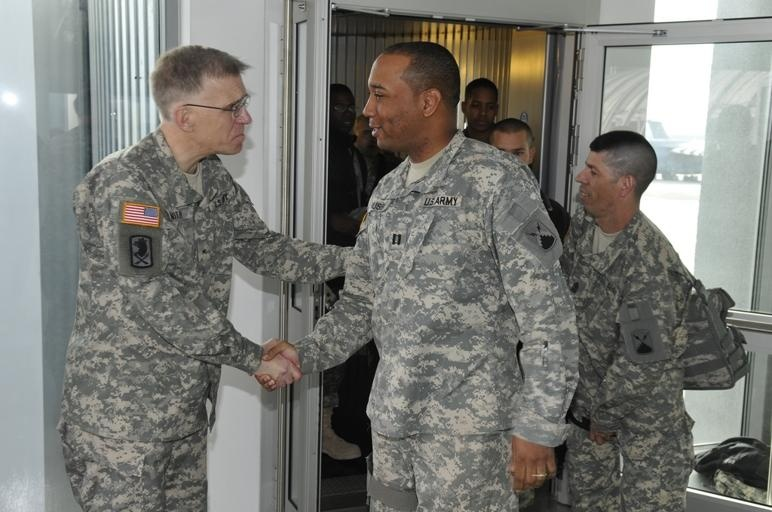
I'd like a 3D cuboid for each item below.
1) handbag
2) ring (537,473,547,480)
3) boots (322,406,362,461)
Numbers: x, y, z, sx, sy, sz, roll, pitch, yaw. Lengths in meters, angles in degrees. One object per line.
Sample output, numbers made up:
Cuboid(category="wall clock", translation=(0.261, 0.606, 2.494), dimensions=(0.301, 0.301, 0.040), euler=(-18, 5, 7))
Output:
Cuboid(category="handbag", translation=(1.744, 0.444, 3.983), dimensions=(0.306, 0.514, 0.365), euler=(-13, -6, 40))
Cuboid(category="ring", translation=(0.634, 0.904, 3.036), dimensions=(0.053, 0.030, 0.013), euler=(-1, 2, -22))
Cuboid(category="boots", translation=(-0.345, 1.149, 4.853), dimensions=(0.414, 0.318, 0.174), euler=(-3, -2, 38))
